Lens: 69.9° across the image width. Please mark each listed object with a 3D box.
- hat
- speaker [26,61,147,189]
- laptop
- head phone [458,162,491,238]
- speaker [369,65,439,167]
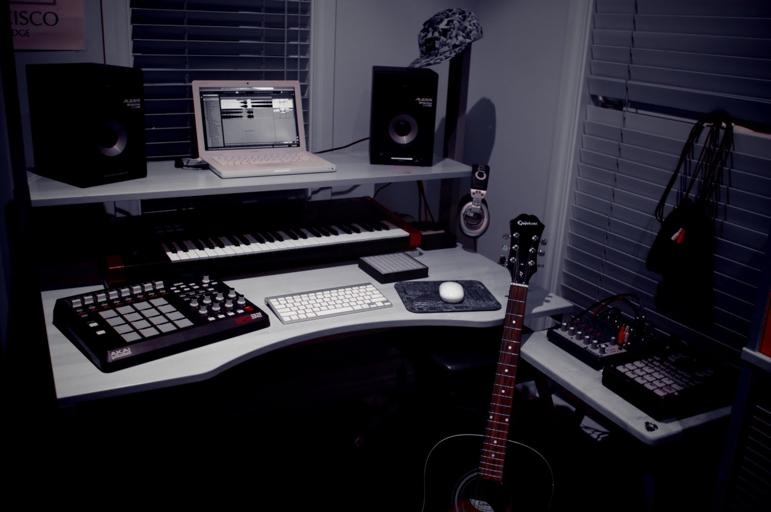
[{"bbox_3d":[0.273,-0.976,2.458,0.328,0.163,0.247,-24,20,4],"label":"hat"},{"bbox_3d":[-1.223,-0.522,2.177,0.465,0.456,0.279,3,27,4],"label":"speaker"},{"bbox_3d":[-0.539,-0.539,2.425,0.617,0.406,0.533,-8,28,-27],"label":"laptop"},{"bbox_3d":[0.432,-0.275,2.687,0.148,0.308,0.335,7,10,3],"label":"head phone"},{"bbox_3d":[0.126,-0.671,2.684,0.327,0.417,0.255,7,20,17],"label":"speaker"}]
